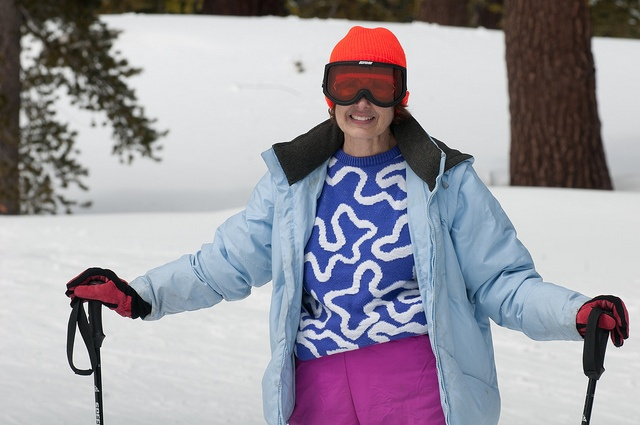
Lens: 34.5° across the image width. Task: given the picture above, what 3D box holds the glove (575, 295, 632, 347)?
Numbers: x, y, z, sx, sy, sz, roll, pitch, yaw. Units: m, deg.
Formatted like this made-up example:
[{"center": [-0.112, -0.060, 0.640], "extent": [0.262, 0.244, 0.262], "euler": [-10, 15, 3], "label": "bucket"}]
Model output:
[{"center": [2.810, 1.010, 10.043], "extent": [0.472, 0.501, 0.211], "euler": [4, 8, 21], "label": "glove"}]
